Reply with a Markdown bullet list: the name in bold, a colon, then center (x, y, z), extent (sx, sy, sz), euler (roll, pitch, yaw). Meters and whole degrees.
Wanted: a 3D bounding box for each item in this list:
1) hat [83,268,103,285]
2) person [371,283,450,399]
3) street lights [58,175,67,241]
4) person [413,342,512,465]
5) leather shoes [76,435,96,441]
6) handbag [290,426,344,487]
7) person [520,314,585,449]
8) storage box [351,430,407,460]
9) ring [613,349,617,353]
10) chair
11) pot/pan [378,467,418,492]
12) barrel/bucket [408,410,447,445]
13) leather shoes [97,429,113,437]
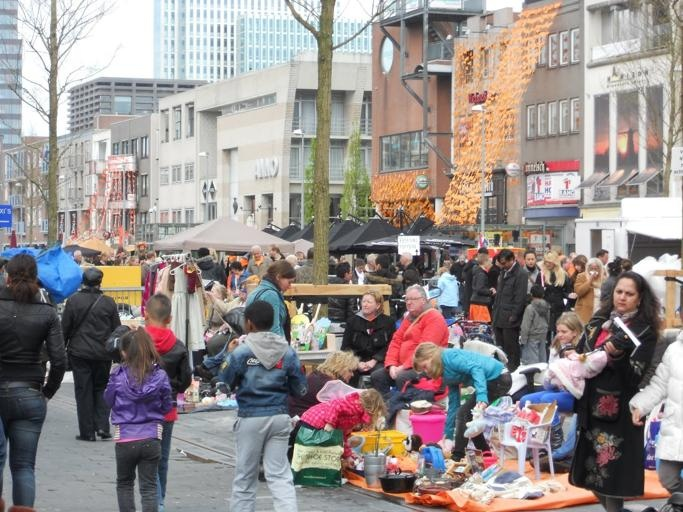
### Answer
- **hat**: center (-3.739, 0.313, 22.169), extent (0.217, 0.257, 0.302), euler (-1, 20, -13)
- **person**: center (1.122, 1.591, 22.098), extent (1.190, 2.341, 0.940), euler (4, -7, -39)
- **street lights**: center (-21.515, -3.916, 114.179), extent (0.444, 4.625, 0.453), euler (3, 6, 40)
- **person**: center (1.879, 2.007, 20.341), extent (1.319, 1.749, 0.952), euler (-9, 4, 12)
- **leather shoes**: center (-3.813, 2.753, 21.910), extent (0.321, 0.100, 0.228), euler (1, -2, 1)
- **handbag**: center (-0.294, 2.721, 19.584), extent (0.748, 0.884, 0.340), euler (9, 30, -1)
- **person**: center (2.999, 1.773, 20.417), extent (0.708, 1.937, 1.033), euler (13, 19, 42)
- **storage box**: center (0.596, 2.623, 20.341), extent (0.553, 0.203, 0.411), euler (0, -1, -33)
- **ring**: center (3.249, 1.120, 17.155), extent (0.042, 0.045, 0.011), euler (-6, 6, -4)
- **chair**: center (2.586, 2.559, 19.819), extent (0.607, 1.048, 0.677), euler (-3, 1, -25)
- **pot/pan**: center (0.782, 3.051, 19.381), extent (0.471, 0.261, 0.268), euler (1, -2, 2)
- **barrel/bucket**: center (1.393, 2.539, 20.965), extent (0.533, 0.408, 0.570), euler (-11, -10, -2)
- **leather shoes**: center (-3.544, 2.716, 22.046), extent (0.219, 0.084, 0.107), euler (6, 3, 5)
